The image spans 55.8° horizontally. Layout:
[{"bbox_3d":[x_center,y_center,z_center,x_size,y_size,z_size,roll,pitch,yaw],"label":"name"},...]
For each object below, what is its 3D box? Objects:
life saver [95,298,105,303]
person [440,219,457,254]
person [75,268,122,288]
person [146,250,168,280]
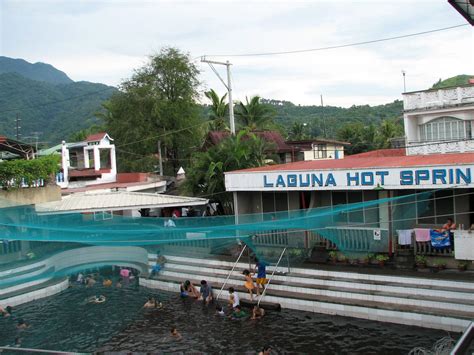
[{"bbox_3d":[-6.102,5.507,19.894,0.520,0.142,0.293,-2,-1,6],"label":"life saver"},{"bbox_3d":[8.280,2.272,17.678,0.490,1.239,1.141,-3,-1,24],"label":"person"},{"bbox_3d":[-6.821,5.082,22.207,1.851,0.314,1.047,-1,30,-2],"label":"person"},{"bbox_3d":[-3.894,4.242,21.564,0.636,1.071,1.286,1,10,18],"label":"person"}]
